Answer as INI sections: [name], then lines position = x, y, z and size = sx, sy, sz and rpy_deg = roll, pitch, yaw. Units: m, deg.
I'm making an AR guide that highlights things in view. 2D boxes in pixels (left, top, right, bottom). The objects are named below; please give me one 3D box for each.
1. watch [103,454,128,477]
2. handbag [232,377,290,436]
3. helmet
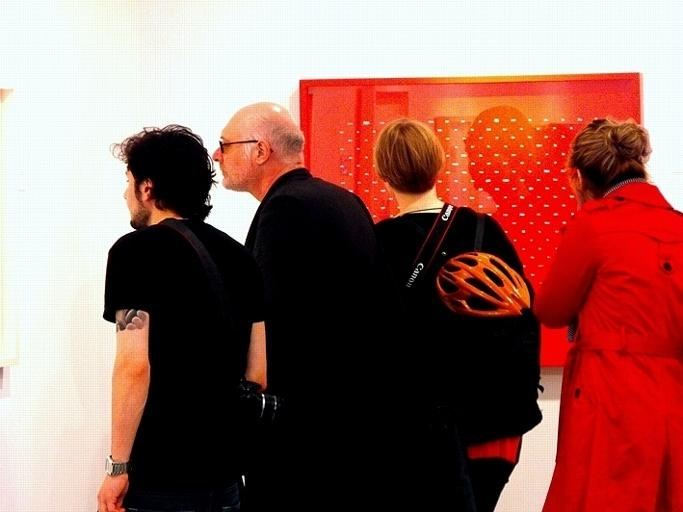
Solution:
[watch]
position = -0.735, 0.672, 2.309
size = 0.073, 0.051, 0.075
rpy_deg = 2, -5, 5
[handbag]
position = -0.278, 0.517, 2.436
size = 0.154, 0.219, 0.078
rpy_deg = 0, 8, -2
[helmet]
position = 0.510, 0.131, 2.590
size = 0.303, 0.227, 0.102
rpy_deg = 30, -22, 11
